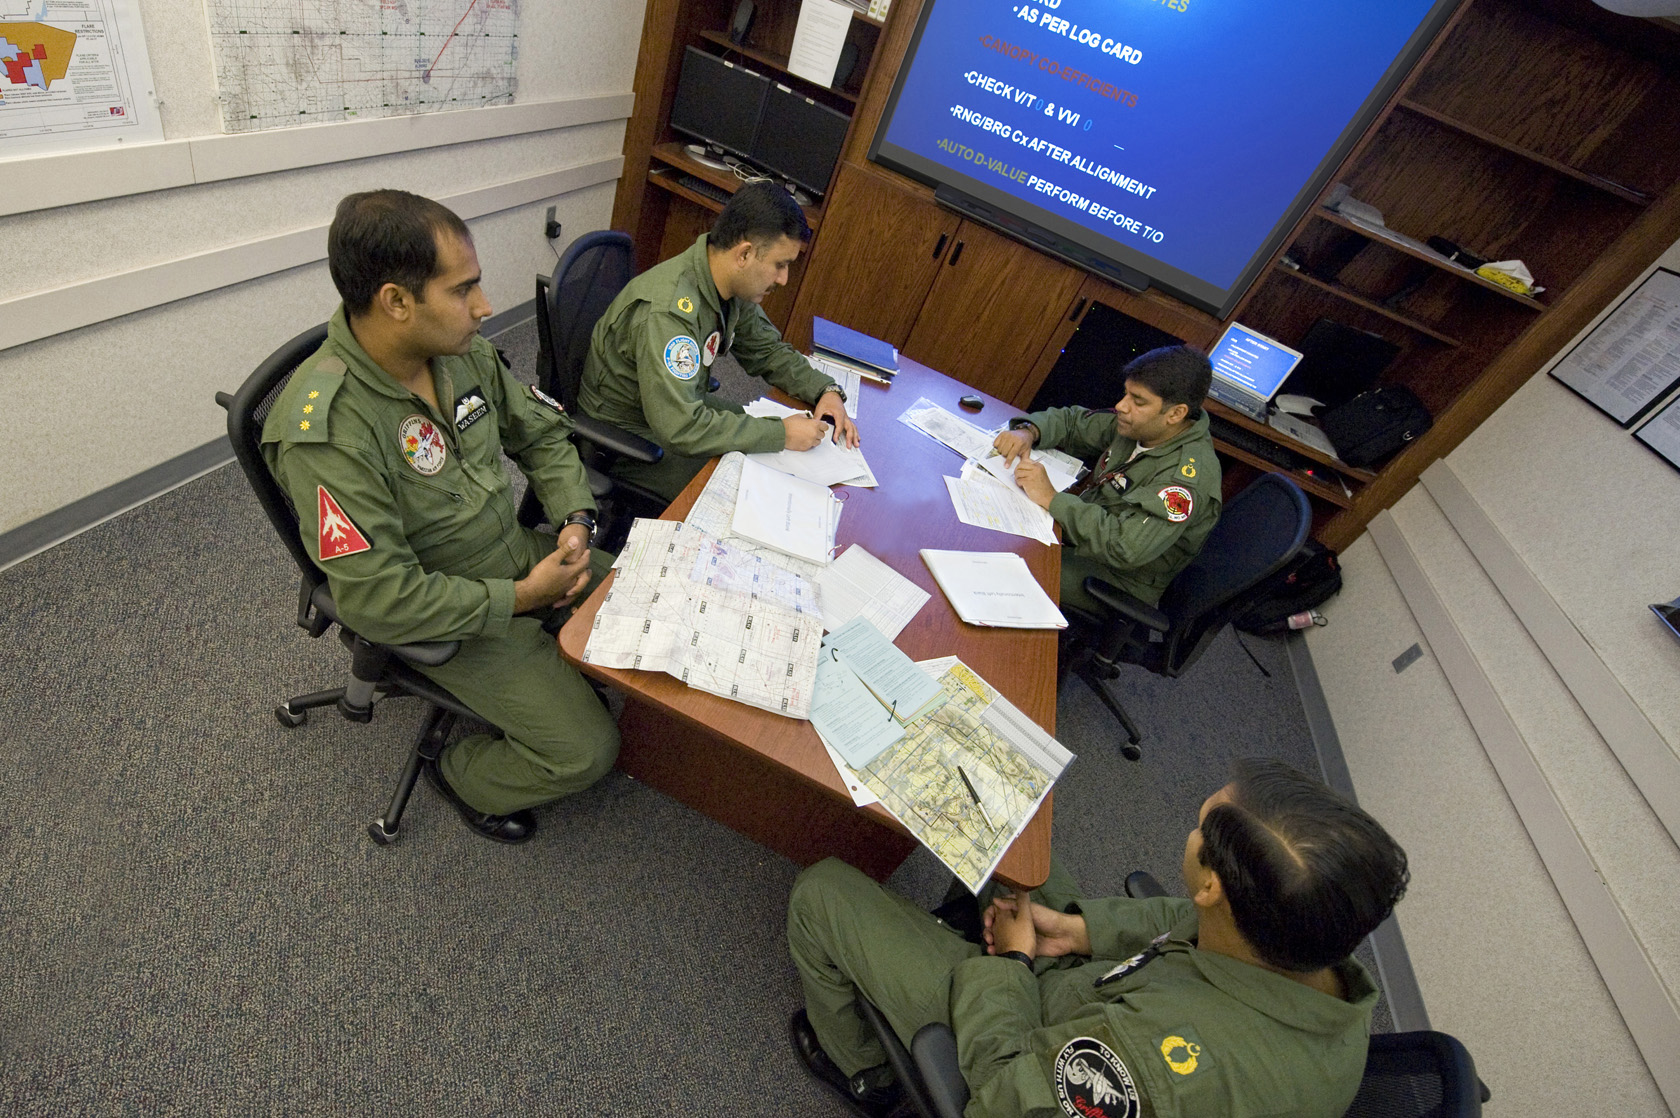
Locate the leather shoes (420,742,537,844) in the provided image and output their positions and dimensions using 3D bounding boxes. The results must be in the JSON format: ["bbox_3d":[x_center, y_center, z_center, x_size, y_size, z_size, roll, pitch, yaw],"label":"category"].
[{"bbox_3d":[-1.129,0.798,3.074,0.413,0.173,0.186,40,53,5],"label":"leather shoes"}]

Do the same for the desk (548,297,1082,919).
[{"bbox_3d":[0.045,0.264,3.020,1.163,1.054,2.154,25,52,5],"label":"desk"}]

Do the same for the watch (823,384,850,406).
[{"bbox_3d":[0.000,-0.592,3.442,0.112,0.030,0.071,17,43,-8],"label":"watch"}]

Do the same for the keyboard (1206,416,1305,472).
[{"bbox_3d":[1.917,-0.535,4.534,0.343,0.081,0.318,26,28,15],"label":"keyboard"}]

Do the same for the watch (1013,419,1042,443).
[{"bbox_3d":[0.689,-0.491,3.621,0.102,0.112,0.073,6,75,19],"label":"watch"}]

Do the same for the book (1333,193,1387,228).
[{"bbox_3d":[2.284,-1.503,4.254,0.224,0.064,0.168,14,59,-20],"label":"book"}]

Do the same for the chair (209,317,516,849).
[{"bbox_3d":[-1.336,0.131,2.787,0.834,1.210,0.888,23,42,-8],"label":"chair"}]

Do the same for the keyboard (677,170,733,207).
[{"bbox_3d":[-0.675,-1.815,4.813,0.274,0.066,0.267,29,35,25],"label":"keyboard"}]

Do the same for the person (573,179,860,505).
[{"bbox_3d":[-0.412,-0.768,3.469,1.010,1.426,0.702,11,51,-8],"label":"person"}]

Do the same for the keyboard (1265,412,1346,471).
[{"bbox_3d":[2.157,-0.546,4.532,0.397,0.043,0.223,33,39,15],"label":"keyboard"}]

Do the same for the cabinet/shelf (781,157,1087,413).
[{"bbox_3d":[0.456,-1.270,4.365,1.144,1.053,0.409,25,47,0],"label":"cabinet/shelf"}]

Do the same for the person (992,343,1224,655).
[{"bbox_3d":[0.985,-0.182,3.488,0.727,1.255,0.723,1,54,0],"label":"person"}]

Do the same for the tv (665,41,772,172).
[{"bbox_3d":[-0.576,-2.178,4.672,0.528,0.507,0.128,23,27,6],"label":"tv"}]

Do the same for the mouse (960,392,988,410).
[{"bbox_3d":[0.495,-0.602,3.677,0.055,0.027,0.075,-2,31,-2],"label":"mouse"}]
